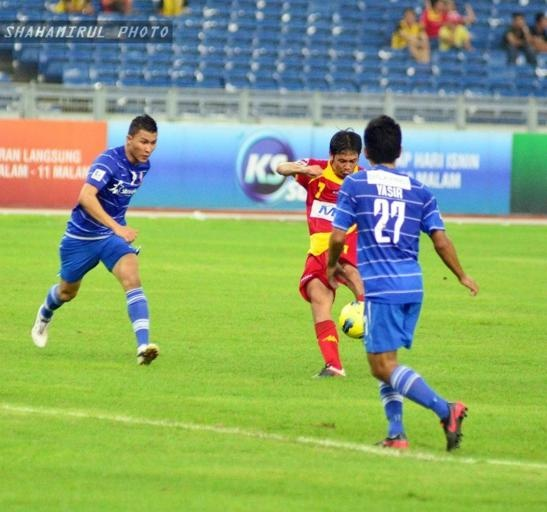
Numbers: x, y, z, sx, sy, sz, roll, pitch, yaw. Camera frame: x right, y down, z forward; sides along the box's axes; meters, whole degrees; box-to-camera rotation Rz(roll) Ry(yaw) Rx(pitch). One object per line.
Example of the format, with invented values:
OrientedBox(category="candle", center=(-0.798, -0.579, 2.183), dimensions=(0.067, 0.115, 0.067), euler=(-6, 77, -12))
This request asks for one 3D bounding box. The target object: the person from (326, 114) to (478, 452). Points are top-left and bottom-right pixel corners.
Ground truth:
OrientedBox(category="person", center=(1.188, 0.229, 12.237), dimensions=(1.340, 3.065, 0.674), euler=(1, 5, 2))

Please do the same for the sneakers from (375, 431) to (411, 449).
OrientedBox(category="sneakers", center=(1.129, 1.704, 12.168), dimensions=(0.315, 0.115, 0.110), euler=(0, -3, 14))

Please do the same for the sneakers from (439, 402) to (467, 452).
OrientedBox(category="sneakers", center=(1.687, 1.534, 12.165), dimensions=(0.281, 0.478, 0.173), euler=(2, 21, 7))

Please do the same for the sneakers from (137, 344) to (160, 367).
OrientedBox(category="sneakers", center=(-1.276, 0.985, 13.307), dimensions=(0.201, 0.231, 0.235), euler=(1, 5, -8))

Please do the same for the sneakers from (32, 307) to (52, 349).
OrientedBox(category="sneakers", center=(-2.579, 0.777, 14.369), dimensions=(0.187, 0.474, 0.218), euler=(0, 9, -22))

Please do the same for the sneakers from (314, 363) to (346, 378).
OrientedBox(category="sneakers", center=(0.610, 1.190, 13.692), dimensions=(0.361, 0.138, 0.113), euler=(2, 3, -1))
